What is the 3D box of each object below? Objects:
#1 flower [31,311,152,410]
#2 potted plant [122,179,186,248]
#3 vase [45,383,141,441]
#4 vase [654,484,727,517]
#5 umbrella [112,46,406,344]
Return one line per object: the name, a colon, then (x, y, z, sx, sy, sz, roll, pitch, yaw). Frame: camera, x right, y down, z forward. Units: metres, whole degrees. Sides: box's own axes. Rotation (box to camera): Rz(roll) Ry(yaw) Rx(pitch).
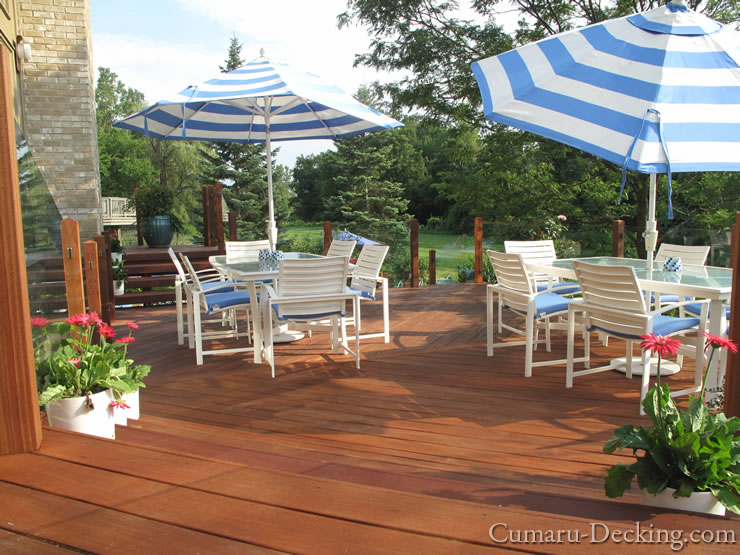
flower: (-2.037, 0.556, 4.697, 0.723, 0.492, 0.685, -1, 5, -35)
potted plant: (-5.842, -1.718, 18.771, 1.511, 1.813, 1.694, 1, -11, -25)
vase: (-1.848, 0.902, 4.503, 0.345, 0.221, 0.500, -4, -6, 39)
vase: (1.682, 1.157, 3.477, 0.360, 0.126, 0.180, 0, 4, -20)
umbrella: (-1.418, -0.933, 8.318, 2.970, 2.211, 3.104, 5, 8, 31)
